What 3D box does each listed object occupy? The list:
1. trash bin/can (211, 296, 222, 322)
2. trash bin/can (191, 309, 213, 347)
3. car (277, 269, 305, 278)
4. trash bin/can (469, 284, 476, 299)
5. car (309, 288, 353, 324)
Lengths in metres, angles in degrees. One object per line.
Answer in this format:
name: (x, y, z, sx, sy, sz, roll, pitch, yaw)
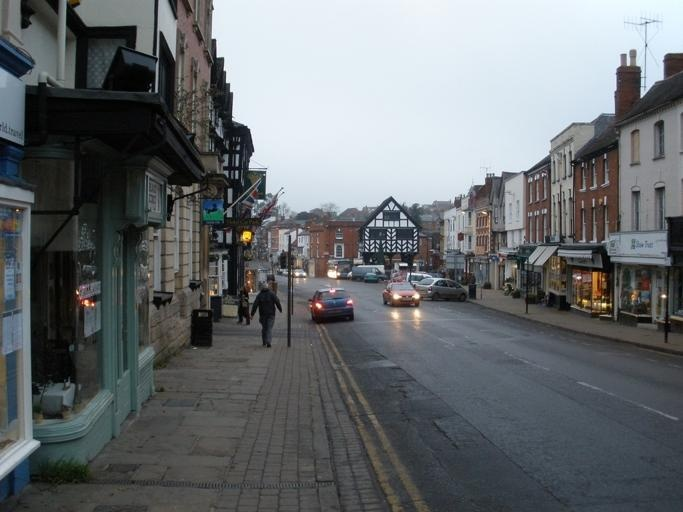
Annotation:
trash bin/can: (-5.104, 2.131, 27.957, 0.604, 1.056, 0.411, 0, -3, -38)
trash bin/can: (-4.097, 2.080, 19.932, 0.517, 1.059, 0.782, 1, -3, -43)
car: (-6.250, 2.122, 83.853, 1.258, 1.012, 2.850, 2, -4, -37)
trash bin/can: (8.877, 2.404, 46.644, 0.451, 1.003, 0.839, -2, -3, 6)
car: (-0.546, 2.207, 30.962, 1.119, 0.977, 1.821, -1, 4, -10)
